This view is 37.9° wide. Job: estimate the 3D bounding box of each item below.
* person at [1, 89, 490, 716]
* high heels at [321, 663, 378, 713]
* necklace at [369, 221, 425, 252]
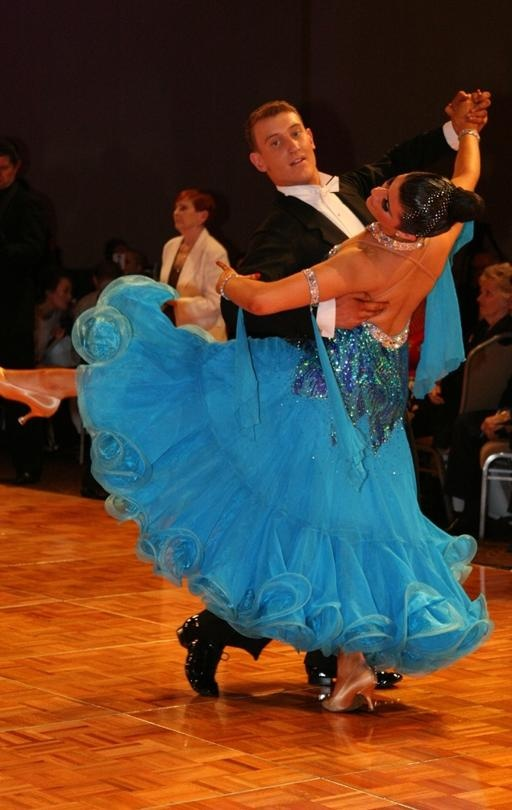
[{"bbox_3d":[0.097,0.106,1.852,1.042,1.264,0.758,-7,22,-5],"label":"person"},{"bbox_3d":[0.225,0.688,1.828,0.131,0.194,0.093,-4,23,4],"label":"high heels"},{"bbox_3d":[0.322,-0.371,1.702,0.086,0.020,0.088,36,23,22],"label":"necklace"}]
